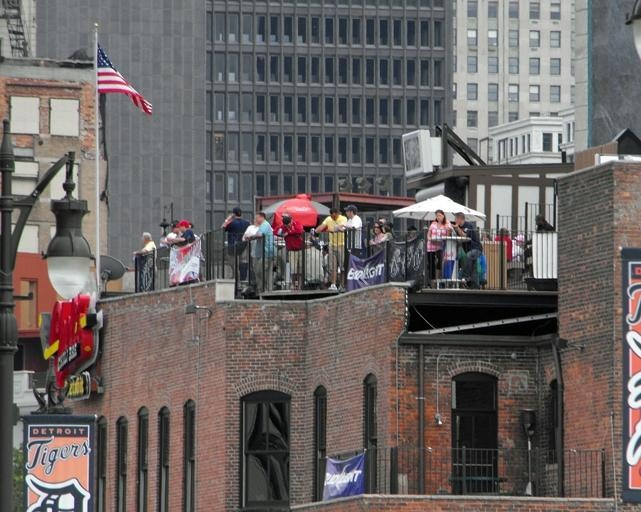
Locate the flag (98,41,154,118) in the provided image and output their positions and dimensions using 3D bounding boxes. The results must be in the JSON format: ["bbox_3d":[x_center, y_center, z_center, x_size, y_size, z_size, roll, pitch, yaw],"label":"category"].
[{"bbox_3d":[-7.299,-6.600,94.422,1.977,3.824,2.027,0,-4,-28],"label":"flag"}]

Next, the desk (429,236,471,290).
[{"bbox_3d":[4.196,0.098,80.524,0.890,1.836,1.025,0,-5,-24],"label":"desk"}]

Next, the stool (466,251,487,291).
[{"bbox_3d":[4.989,0.363,80.628,0.731,1.550,0.524,-10,-24,24],"label":"stool"}]
